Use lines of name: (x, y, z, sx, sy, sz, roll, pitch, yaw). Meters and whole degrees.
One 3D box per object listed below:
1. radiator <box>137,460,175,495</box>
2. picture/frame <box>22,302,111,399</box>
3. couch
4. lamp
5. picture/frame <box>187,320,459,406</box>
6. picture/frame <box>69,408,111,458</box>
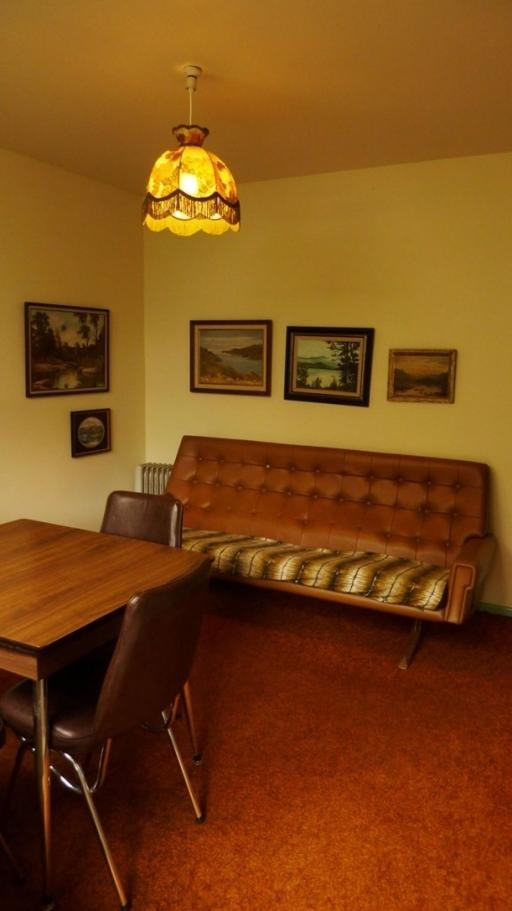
radiator: (-0.670, 0.163, 3.925, 0.168, 0.198, 0.096, 7, 10, 30)
picture/frame: (-1.087, -0.597, 3.426, 0.018, 0.509, 0.636, 9, 12, 27)
couch: (0.323, 0.413, 3.031, 1.671, 0.864, 0.813, 4, 6, 28)
lamp: (-0.184, -0.898, 1.720, 0.211, 0.387, 0.233, 0, 20, 14)
picture/frame: (0.307, -0.535, 3.449, 1.686, 0.508, 0.044, 5, 6, 29)
picture/frame: (-1.043, -0.134, 3.641, 0.019, 0.244, 0.267, 4, 6, 23)
